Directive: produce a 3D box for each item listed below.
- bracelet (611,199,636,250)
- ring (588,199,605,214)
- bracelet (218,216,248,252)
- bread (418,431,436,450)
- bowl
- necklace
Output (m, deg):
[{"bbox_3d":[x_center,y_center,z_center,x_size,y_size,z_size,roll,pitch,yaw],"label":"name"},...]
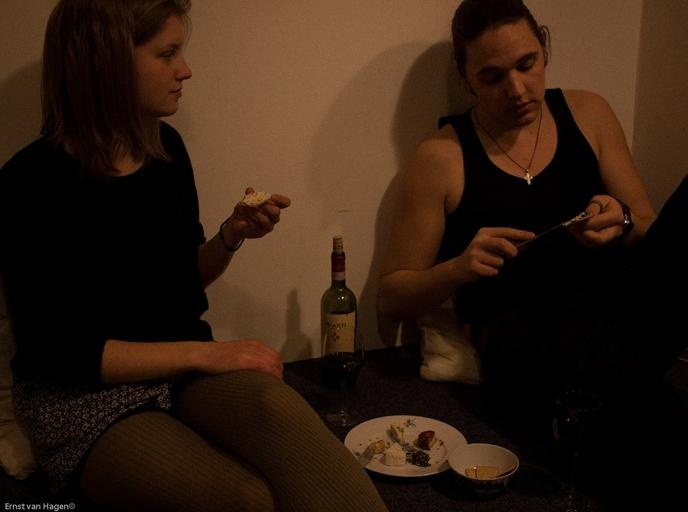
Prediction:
[{"bbox_3d":[0.797,-0.095,1.818,0.073,0.130,0.113,-1,11,23],"label":"bracelet"},{"bbox_3d":[0.695,-0.135,1.721,0.044,0.016,0.034,-34,72,-13],"label":"ring"},{"bbox_3d":[-0.308,-0.062,1.729,0.073,0.104,0.026,22,14,5],"label":"bracelet"},{"bbox_3d":[0.214,0.461,1.603,0.036,0.037,0.050,8,14,25],"label":"bread"},{"bbox_3d":[0.329,0.494,1.467,0.163,0.072,0.121,13,20,13],"label":"bowl"},{"bbox_3d":[0.504,-0.313,1.808,0.143,0.280,0.028,-16,-2,-4],"label":"necklace"}]
